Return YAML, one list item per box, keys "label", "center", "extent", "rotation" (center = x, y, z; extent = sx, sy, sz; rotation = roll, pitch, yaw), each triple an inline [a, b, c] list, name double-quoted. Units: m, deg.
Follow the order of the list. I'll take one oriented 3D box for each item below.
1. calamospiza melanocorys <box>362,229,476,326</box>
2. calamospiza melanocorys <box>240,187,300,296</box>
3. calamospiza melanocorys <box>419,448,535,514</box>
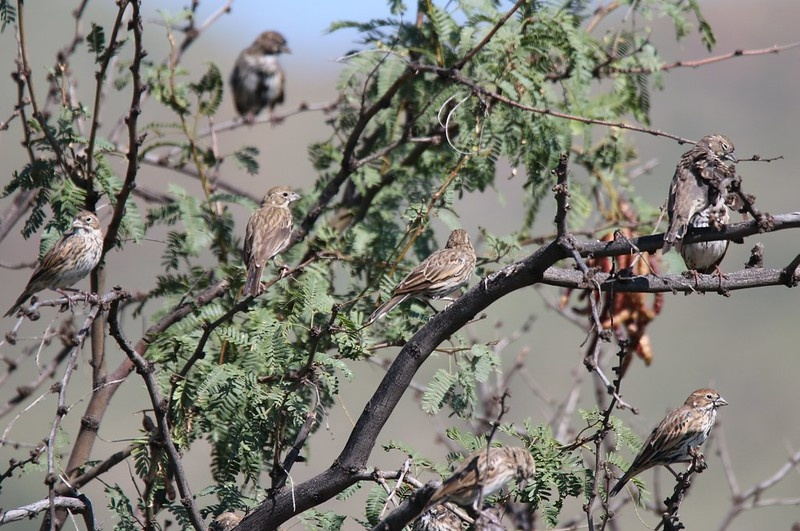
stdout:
- label: "calamospiza melanocorys"
  center: [0.260, 0.078, 8.078]
  extent: [0.885, 1.250, 0.488]
  rotation: [9, -54, -3]
- label: "calamospiza melanocorys"
  center: [-1.283, -0.284, 8.335]
  extent: [0.343, 1.151, 0.719]
  rotation: [0, -66, 15]
- label: "calamospiza melanocorys"
  center: [0.540, 1.597, 6.339]
  extent: [0.832, 0.368, 0.581]
  rotation: [0, -98, 8]
